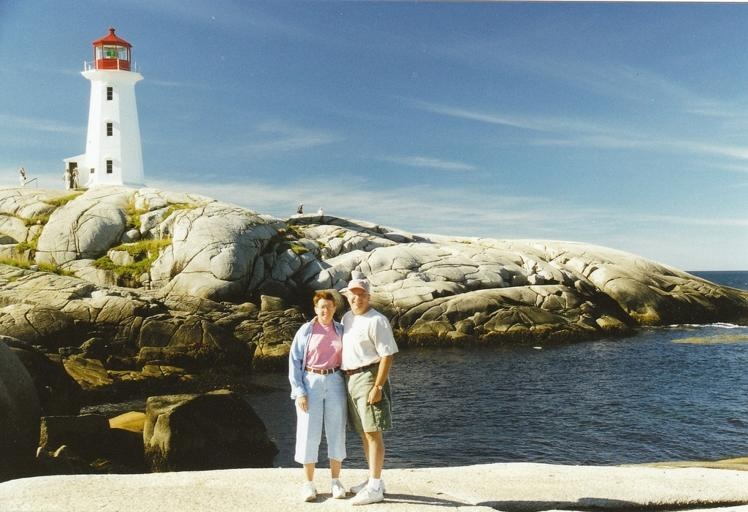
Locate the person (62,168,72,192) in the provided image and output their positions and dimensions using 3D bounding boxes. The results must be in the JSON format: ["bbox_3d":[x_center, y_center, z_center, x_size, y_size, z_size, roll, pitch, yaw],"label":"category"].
[{"bbox_3d":[-19.937,-5.165,49.489,0.403,1.202,1.090,1,11,-26],"label":"person"}]

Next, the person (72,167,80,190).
[{"bbox_3d":[-19.730,-5.318,50.078,0.516,1.187,1.547,3,11,-20],"label":"person"}]
